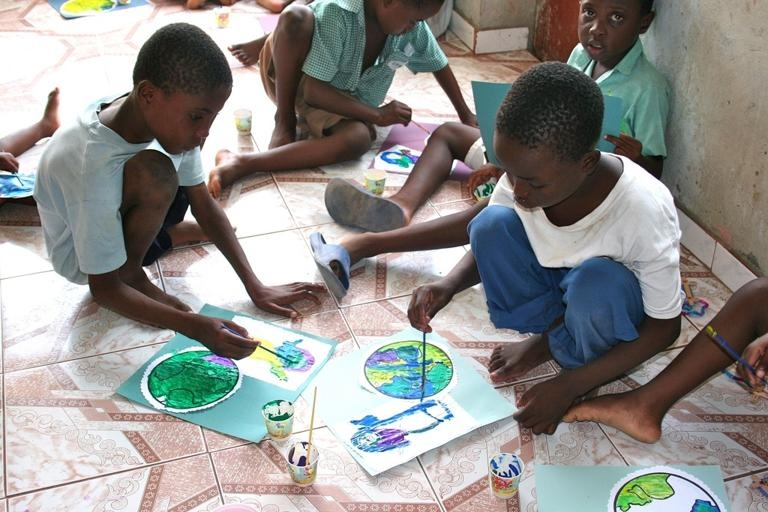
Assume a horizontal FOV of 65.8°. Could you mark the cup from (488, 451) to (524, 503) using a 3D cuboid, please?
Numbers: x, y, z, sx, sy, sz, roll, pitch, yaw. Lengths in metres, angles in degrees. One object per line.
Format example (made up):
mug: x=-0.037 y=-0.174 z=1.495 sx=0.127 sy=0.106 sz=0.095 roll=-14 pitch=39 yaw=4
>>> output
cup: x=0.356 y=0.660 z=1.751 sx=0.087 sy=0.072 sz=0.096 roll=2 pitch=8 yaw=0

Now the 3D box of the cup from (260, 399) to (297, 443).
cup: x=-0.328 y=0.506 z=1.863 sx=0.106 sy=0.084 sz=0.113 roll=0 pitch=25 yaw=0

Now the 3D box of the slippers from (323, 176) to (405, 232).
slippers: x=-0.092 y=-0.220 z=2.625 sx=0.383 sy=0.172 sz=0.149 roll=25 pitch=21 yaw=12

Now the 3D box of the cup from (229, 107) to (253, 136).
cup: x=-0.729 y=-0.715 z=3.166 sx=0.131 sy=0.138 sz=0.126 roll=-1 pitch=32 yaw=1

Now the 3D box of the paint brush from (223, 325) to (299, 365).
paint brush: x=-0.432 y=0.314 z=2.065 sx=0.250 sy=0.017 sz=0.028 roll=29 pitch=2 yaw=10

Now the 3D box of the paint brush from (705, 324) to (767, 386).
paint brush: x=1.061 y=0.287 z=1.788 sx=0.267 sy=0.031 sz=0.030 roll=44 pitch=30 yaw=-1

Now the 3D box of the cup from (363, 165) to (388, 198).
cup: x=-0.047 y=-0.353 z=2.737 sx=0.126 sy=0.101 sz=0.129 roll=-1 pitch=6 yaw=0

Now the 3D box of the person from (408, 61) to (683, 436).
person: x=0.599 y=-0.113 z=2.012 sx=0.872 sy=1.039 sz=0.848 roll=-32 pitch=41 yaw=-33

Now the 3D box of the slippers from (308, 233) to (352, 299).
slippers: x=-0.181 y=0.046 z=2.309 sx=0.087 sy=0.248 sz=0.119 roll=-33 pitch=22 yaw=-26

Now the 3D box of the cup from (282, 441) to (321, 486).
cup: x=-0.238 y=0.605 z=1.764 sx=0.117 sy=0.096 sz=0.126 roll=1 pitch=39 yaw=-1
